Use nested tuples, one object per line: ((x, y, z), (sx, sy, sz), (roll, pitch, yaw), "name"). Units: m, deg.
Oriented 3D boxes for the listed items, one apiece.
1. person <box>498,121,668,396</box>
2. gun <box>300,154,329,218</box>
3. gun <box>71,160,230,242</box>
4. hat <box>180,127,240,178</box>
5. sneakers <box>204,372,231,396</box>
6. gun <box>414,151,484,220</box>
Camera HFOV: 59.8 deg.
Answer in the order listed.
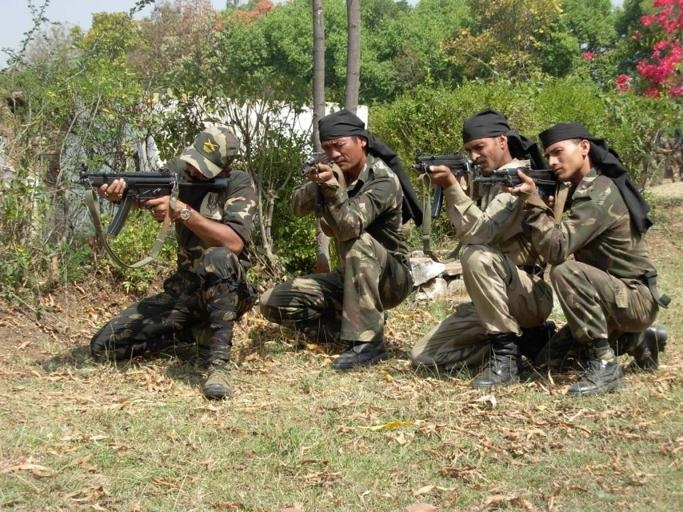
((2.019, -0.009, 4.807), (1.134, 2.157, 0.532), (-2, 1, 8), "person")
((-0.217, -0.625, 5.136), (0.224, 0.557, 0.549), (-2, 2, 0), "gun")
((-1.611, -0.447, 5.024), (1.560, 0.643, 0.217), (4, -8, 18), "gun")
((-1.146, -0.953, 5.229), (0.453, 0.307, 0.615), (30, 26, -9), "hat")
((-1.002, 1.041, 4.765), (0.211, 0.159, 0.201), (-2, 2, -9), "sneakers")
((0.924, -0.616, 5.055), (0.911, 0.536, 0.150), (-11, 13, -42), "gun")
